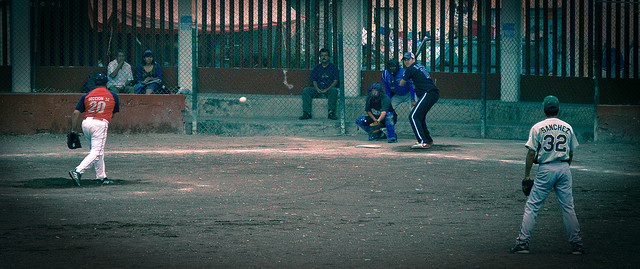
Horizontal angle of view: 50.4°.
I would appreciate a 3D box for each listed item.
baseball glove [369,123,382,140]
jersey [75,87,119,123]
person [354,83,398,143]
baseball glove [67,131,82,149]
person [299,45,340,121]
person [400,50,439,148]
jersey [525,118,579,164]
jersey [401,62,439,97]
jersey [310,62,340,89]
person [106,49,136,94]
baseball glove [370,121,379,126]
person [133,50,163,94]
[{"bbox_3d":[2.210,-0.116,27.246,0.493,0.635,0.524,0,4,8],"label":"baseball glove"},{"bbox_3d":[-7.452,-0.926,22.622,1.862,1.116,0.810,5,12,-3],"label":"jersey"},{"bbox_3d":[2.298,-0.859,27.304,1.687,2.302,0.926,1,5,20],"label":"person"},{"bbox_3d":[-8.102,0.199,22.091,0.729,0.568,0.449,-2,-1,32],"label":"baseball glove"},{"bbox_3d":[0.012,-2.132,28.661,1.524,2.988,0.620,-1,4,-1],"label":"person"},{"bbox_3d":[3.845,-1.337,26.064,1.119,3.638,1.044,-2,5,-14],"label":"person"},{"bbox_3d":[6.704,0.253,19.610,2.263,1.396,0.793,0,8,5],"label":"jersey"},{"bbox_3d":[3.750,-2.208,26.475,1.304,1.269,1.356,-4,21,15],"label":"jersey"},{"bbox_3d":[0.308,-2.573,29.019,1.715,1.036,0.840,3,11,27],"label":"jersey"},{"bbox_3d":[-8.530,-2.693,28.887,1.293,1.873,0.754,-1,4,-1],"label":"person"},{"bbox_3d":[2.147,-0.430,27.031,0.349,0.180,0.161,0,4,4],"label":"baseball glove"},{"bbox_3d":[-7.408,-2.675,29.034,1.086,1.818,0.614,-1,4,-2],"label":"person"}]
